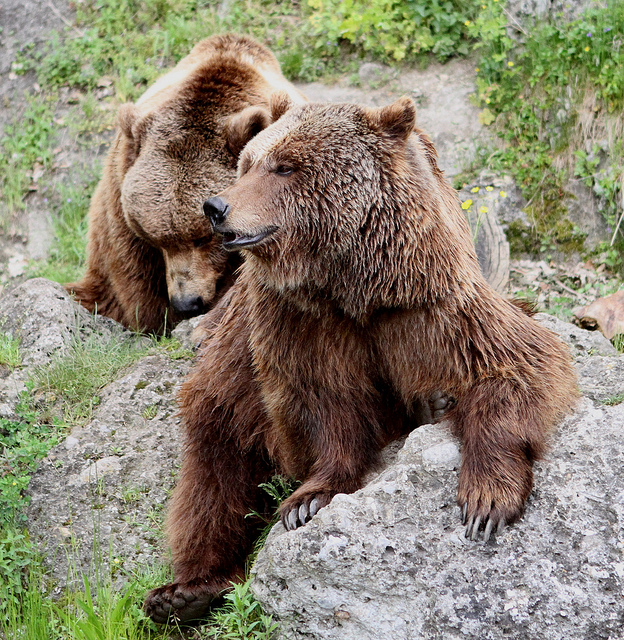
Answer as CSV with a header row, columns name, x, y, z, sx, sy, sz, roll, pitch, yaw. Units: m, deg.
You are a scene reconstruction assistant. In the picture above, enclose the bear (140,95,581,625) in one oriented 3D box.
name,x,y,z,sx,sy,sz,roll,pitch,yaw
bear,0.353,0.128,4.326,1.716,2.044,2.860,-10,-7,16
